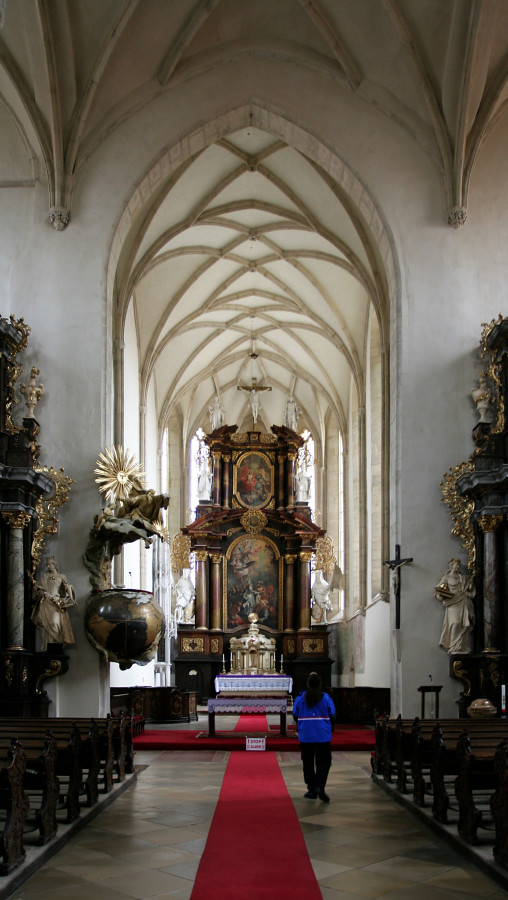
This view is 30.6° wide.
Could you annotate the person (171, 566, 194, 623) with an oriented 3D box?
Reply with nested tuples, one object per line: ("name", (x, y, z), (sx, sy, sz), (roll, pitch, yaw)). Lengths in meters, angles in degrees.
("person", (-1.857, 4.040, 25.374), (0.531, 1.548, 1.396), (1, -12, -4))

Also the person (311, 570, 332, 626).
("person", (1.819, 3.968, 24.752), (0.509, 1.443, 0.904), (1, -12, -4))

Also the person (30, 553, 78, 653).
("person", (-2.765, 2.169, 12.903), (0.622, 1.230, 0.453), (6, -14, -26))

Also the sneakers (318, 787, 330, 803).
("sneakers", (0.628, 3.121, 8.294), (0.056, 0.120, 0.169), (1, -2, 10))

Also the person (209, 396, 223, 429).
("person", (-1.073, -1.021, 27.087), (0.328, 1.108, 0.626), (0, -12, 1))

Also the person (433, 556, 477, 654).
("person", (2.808, 2.199, 12.881), (0.508, 1.280, 0.323), (-2, -12, 9))
